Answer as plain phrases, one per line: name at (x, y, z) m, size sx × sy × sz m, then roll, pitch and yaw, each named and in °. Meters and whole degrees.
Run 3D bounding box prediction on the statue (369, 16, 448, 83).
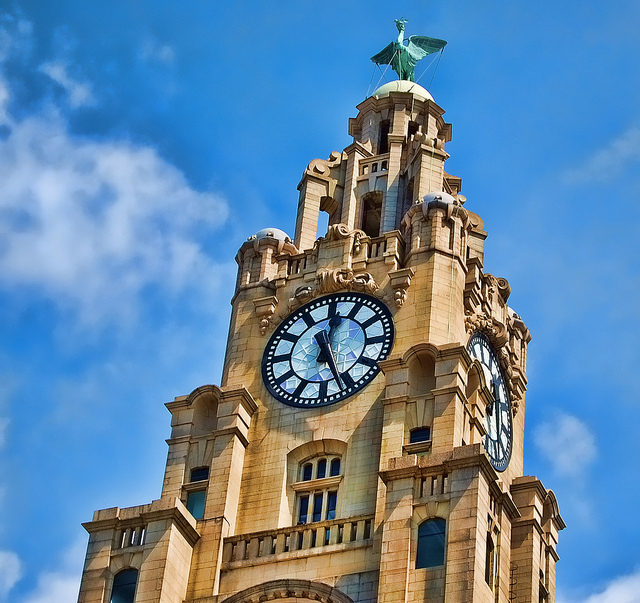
statue at (4.181, -11.897, 69.136) m, size 3.849 × 3.684 × 1.407 m, roll -6°, pitch -17°, yaw 27°
